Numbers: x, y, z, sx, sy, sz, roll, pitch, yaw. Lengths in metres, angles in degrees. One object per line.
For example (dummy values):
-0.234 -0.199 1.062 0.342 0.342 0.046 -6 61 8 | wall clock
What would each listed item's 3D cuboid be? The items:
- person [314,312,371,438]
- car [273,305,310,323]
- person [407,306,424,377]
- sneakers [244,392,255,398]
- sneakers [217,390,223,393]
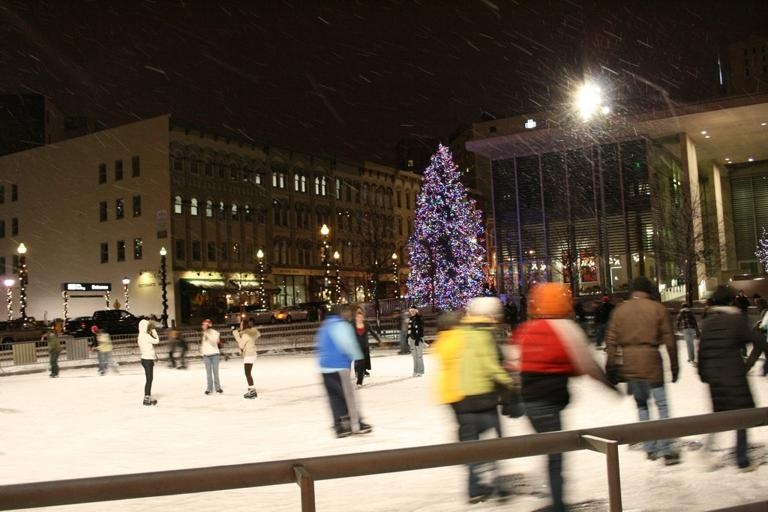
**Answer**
-0.789 2.226 14.129 0.909 2.230 1.182 -3 -1 -3 | person
-7.266 4.593 57.875 2.685 0.843 1.092 -2 2 -45 | car
0.980 2.620 22.868 0.454 2.051 1.063 -3 -1 2 | person
-3.547 3.694 19.635 0.355 0.153 0.116 1 -3 11 | sneakers
-4.662 3.854 21.070 0.084 0.042 0.118 0 -2 10 | sneakers
